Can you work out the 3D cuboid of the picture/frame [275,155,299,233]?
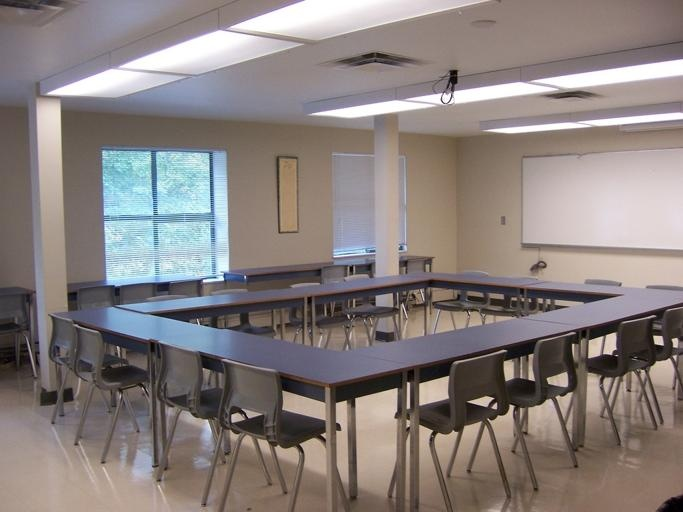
[{"bbox_3d":[-0.871,-0.976,9.038,0.401,1.230,0.035,-8,14,-39],"label":"picture/frame"}]
